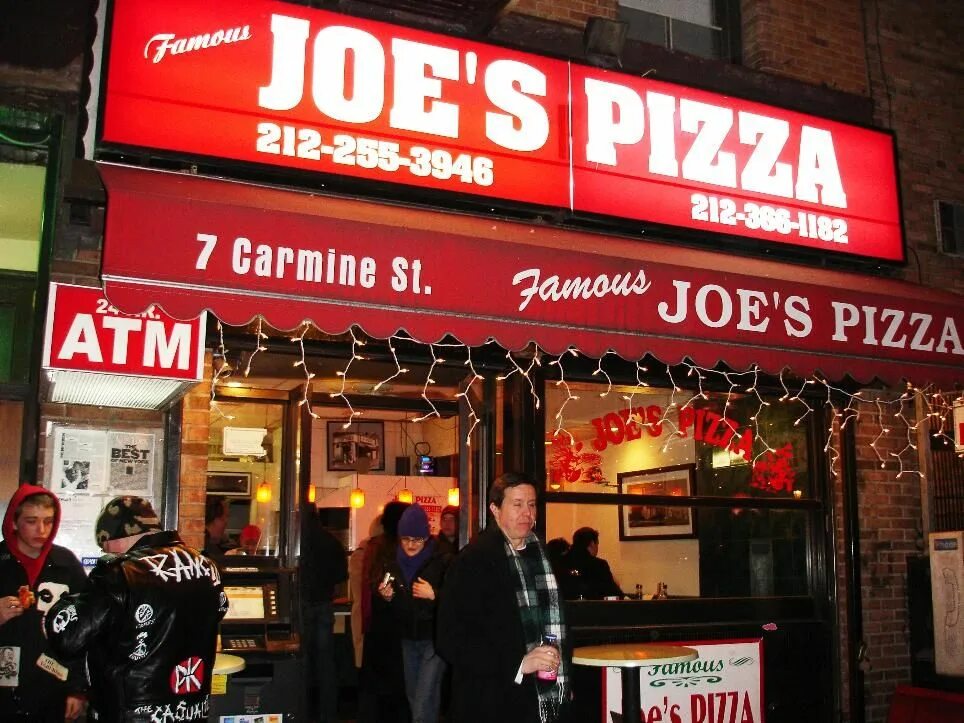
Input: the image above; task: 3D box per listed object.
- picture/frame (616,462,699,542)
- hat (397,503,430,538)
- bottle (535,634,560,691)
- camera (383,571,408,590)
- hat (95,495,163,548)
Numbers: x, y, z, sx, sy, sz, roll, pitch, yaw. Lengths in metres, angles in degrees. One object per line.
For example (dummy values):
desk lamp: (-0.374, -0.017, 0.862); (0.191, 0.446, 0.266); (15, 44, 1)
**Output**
picture/frame: (1.376, 1.132, 7.578); (0.646, 0.548, 0.062); (0, -5, -13)
hat: (-0.519, 1.225, 7.295); (0.225, 0.232, 0.244); (4, -11, -2)
bottle: (0.347, 1.577, 5.001); (0.117, 0.272, 0.243); (-1, -13, 3)
camera: (-0.639, 1.651, 7.159); (0.181, 0.134, 0.110); (-1, -13, -1)
hat: (-1.825, 0.826, 4.922); (0.335, 0.264, 0.250); (5, -9, 2)
